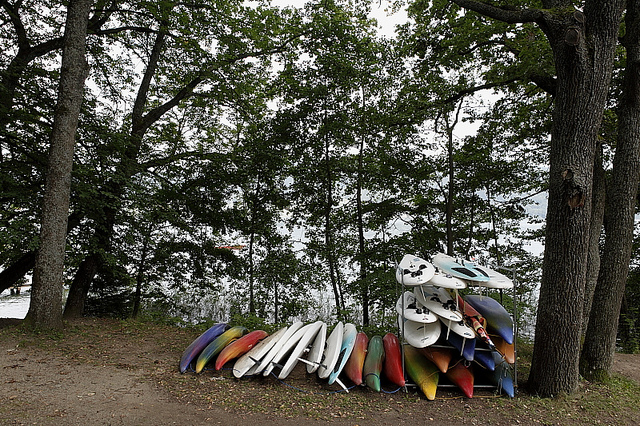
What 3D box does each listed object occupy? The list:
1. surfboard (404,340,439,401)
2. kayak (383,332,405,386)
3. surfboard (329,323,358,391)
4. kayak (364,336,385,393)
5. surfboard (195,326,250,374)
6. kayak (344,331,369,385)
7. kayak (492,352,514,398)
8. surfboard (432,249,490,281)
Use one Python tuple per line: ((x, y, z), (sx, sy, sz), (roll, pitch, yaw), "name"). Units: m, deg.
((2.825, 4.412, 14.396), (0.605, 1.825, 0.447), (-14, -51, -8), "surfboard")
((2.093, 4.147, 14.262), (0.400, 1.236, 0.348), (3, -40, -8), "kayak")
((0.697, 4.007, 14.492), (0.298, 2.047, 0.473), (37, -47, -11), "surfboard")
((1.571, 4.407, 14.484), (0.605, 2.125, 0.572), (-4, -57, 13), "kayak")
((-2.951, 3.851, 14.766), (0.448, 0.570, 2.198), (-50, -9, 28), "surfboard")
((1.064, 4.163, 14.494), (0.430, 1.397, 0.343), (25, -52, 0), "kayak")
((5.084, 4.565, 14.082), (0.406, 1.342, 0.495), (-17, -28, 16), "kayak")
((4.350, 1.582, 14.483), (1.467, 1.559, 0.410), (10, -69, 22), "surfboard")
